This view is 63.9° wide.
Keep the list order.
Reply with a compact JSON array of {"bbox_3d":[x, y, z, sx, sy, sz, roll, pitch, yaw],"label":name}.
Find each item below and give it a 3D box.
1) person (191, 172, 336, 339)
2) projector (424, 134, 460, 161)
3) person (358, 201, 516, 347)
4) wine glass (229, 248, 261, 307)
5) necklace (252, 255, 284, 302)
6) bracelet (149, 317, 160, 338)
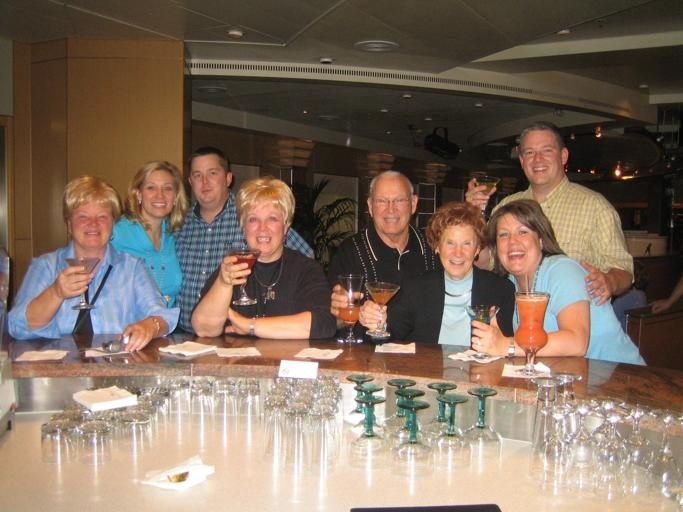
[{"bbox_3d":[-0.462,0.227,3.383,0.827,1.296,0.729,0,5,9],"label":"person"},{"bbox_3d":[2.004,-2.239,11.092,0.606,0.575,1.094,1,0,9],"label":"projector"},{"bbox_3d":[0.629,0.270,3.357,0.884,1.121,0.676,-1,19,11],"label":"person"},{"bbox_3d":[-0.556,0.139,3.148,0.149,0.341,0.514,1,0,-8],"label":"wine glass"},{"bbox_3d":[-0.459,0.153,3.380,0.201,0.270,0.066,2,-4,5],"label":"necklace"},{"bbox_3d":[-1.018,0.394,3.024,0.037,0.091,0.070,1,6,-17],"label":"bracelet"}]
